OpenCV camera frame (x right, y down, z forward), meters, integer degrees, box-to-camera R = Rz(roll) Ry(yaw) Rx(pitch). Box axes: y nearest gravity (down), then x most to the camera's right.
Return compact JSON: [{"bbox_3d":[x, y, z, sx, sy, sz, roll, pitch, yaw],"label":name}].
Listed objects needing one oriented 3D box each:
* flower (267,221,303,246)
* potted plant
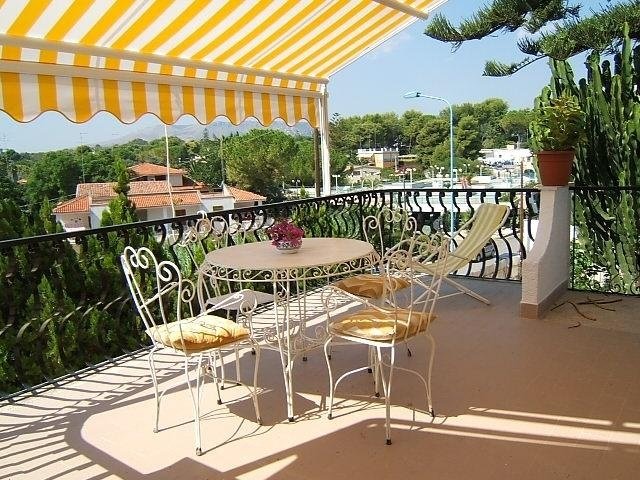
[{"bbox_3d":[-0.295,-0.061,3.862,0.223,0.172,0.227,5,7,42],"label":"flower"},{"bbox_3d":[2.757,-1.079,5.343,0.581,0.828,0.606,10,22,23],"label":"potted plant"}]
